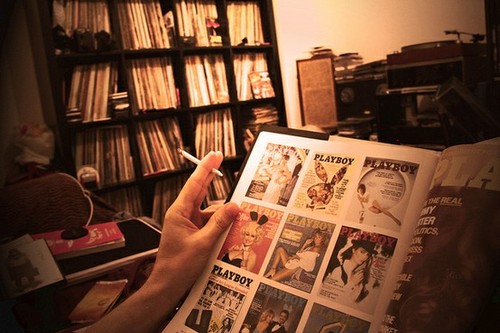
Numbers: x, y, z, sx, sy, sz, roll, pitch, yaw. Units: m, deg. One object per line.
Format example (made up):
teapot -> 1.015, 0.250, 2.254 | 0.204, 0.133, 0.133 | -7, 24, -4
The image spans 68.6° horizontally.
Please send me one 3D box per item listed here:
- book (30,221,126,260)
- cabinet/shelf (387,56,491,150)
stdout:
book -> -0.657, 0.297, 1.447 | 0.266, 0.037, 0.149 | -12, 41, -24
cabinet/shelf -> 1.262, -0.437, 2.414 | 0.331, 0.578, 0.629 | -12, 17, -23
